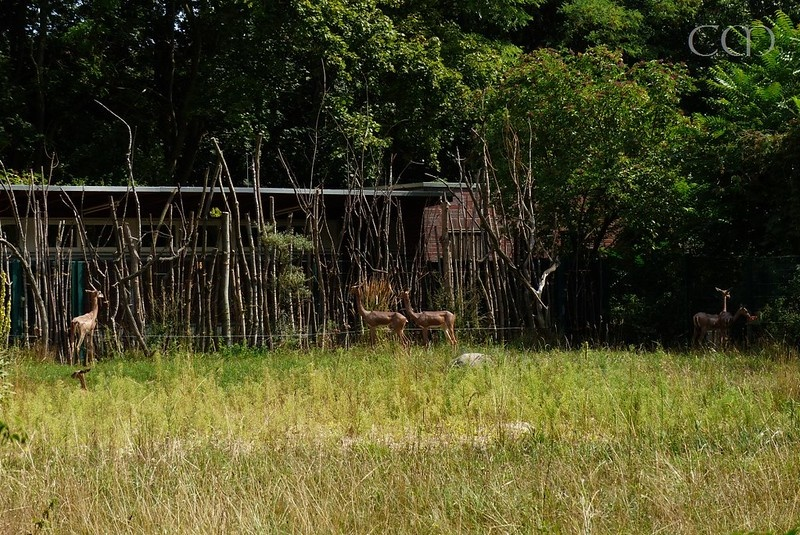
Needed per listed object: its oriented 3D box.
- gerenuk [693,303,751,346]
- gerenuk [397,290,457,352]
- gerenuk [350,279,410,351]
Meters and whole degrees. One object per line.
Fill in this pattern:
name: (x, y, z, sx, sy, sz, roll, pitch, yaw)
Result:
gerenuk: (5.911, 1.081, 22.399, 1.021, 0.891, 0.312, 0, 11, 18)
gerenuk: (0.475, 0.874, 21.615, 0.961, 1.391, 0.345, -5, 20, -5)
gerenuk: (-0.370, 0.842, 21.432, 0.994, 1.268, 0.332, -1, 24, 4)
